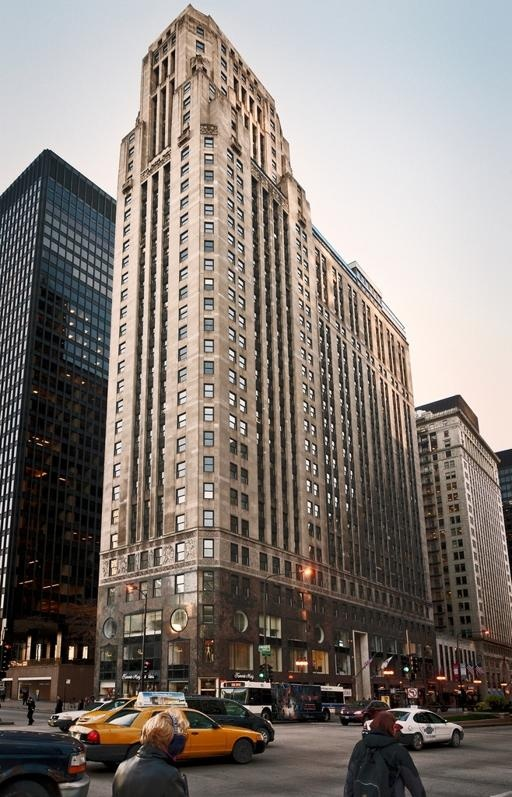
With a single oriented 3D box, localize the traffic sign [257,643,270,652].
[{"bbox_3d":[0.711,21.952,58.373,0.798,0.663,2.070,-1,-22,-5],"label":"traffic sign"}]
